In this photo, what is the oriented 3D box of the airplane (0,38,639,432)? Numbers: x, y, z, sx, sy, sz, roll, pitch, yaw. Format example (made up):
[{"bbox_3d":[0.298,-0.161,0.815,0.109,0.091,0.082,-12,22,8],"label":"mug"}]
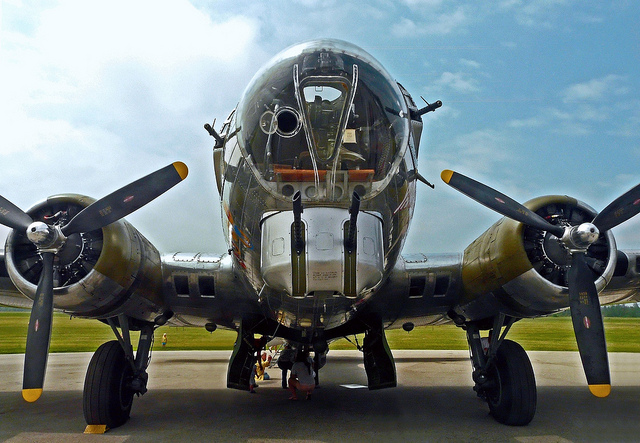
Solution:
[{"bbox_3d":[-0.049,0.582,11.418,10.961,7.260,4.731,-2,-4,10],"label":"airplane"}]

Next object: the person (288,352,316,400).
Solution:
[{"bbox_3d":[-0.401,3.628,13.698,0.662,1.190,0.674,-5,-6,33],"label":"person"}]
